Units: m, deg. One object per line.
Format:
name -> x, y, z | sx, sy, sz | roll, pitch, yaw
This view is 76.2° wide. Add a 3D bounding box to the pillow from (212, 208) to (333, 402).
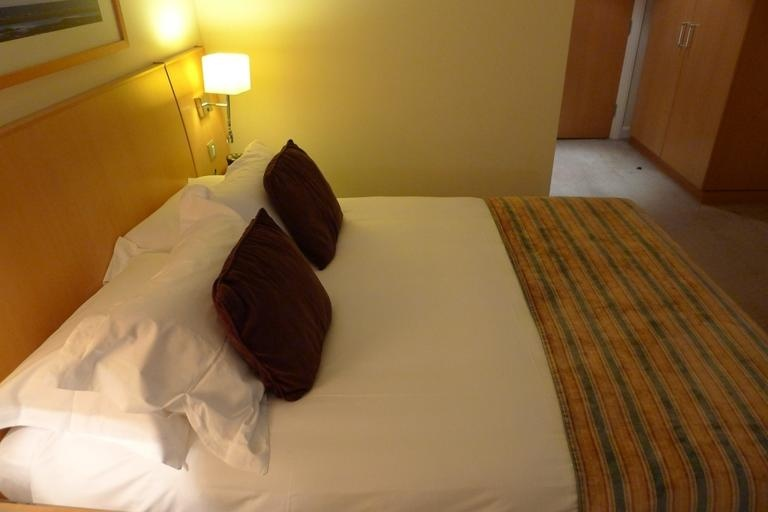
pillow -> -0.473, 0.202, 2.174 | 0.432, 0.535, 0.846 | 4, 24, -4
